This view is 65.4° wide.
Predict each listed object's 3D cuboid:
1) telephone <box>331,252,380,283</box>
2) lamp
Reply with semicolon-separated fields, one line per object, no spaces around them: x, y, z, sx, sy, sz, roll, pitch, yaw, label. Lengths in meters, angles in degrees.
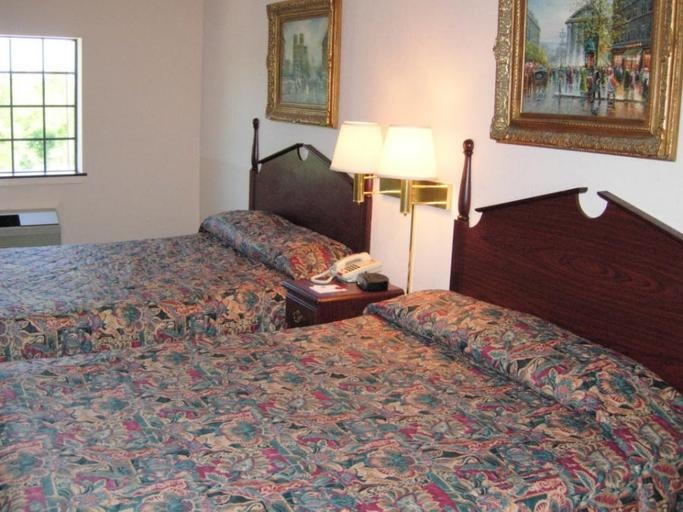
0.089;0.069;3.614;0.251;0.121;0.184;-15;24;-32;telephone
0.314;-0.573;3.449;0.492;0.537;0.806;-15;23;-40;lamp
